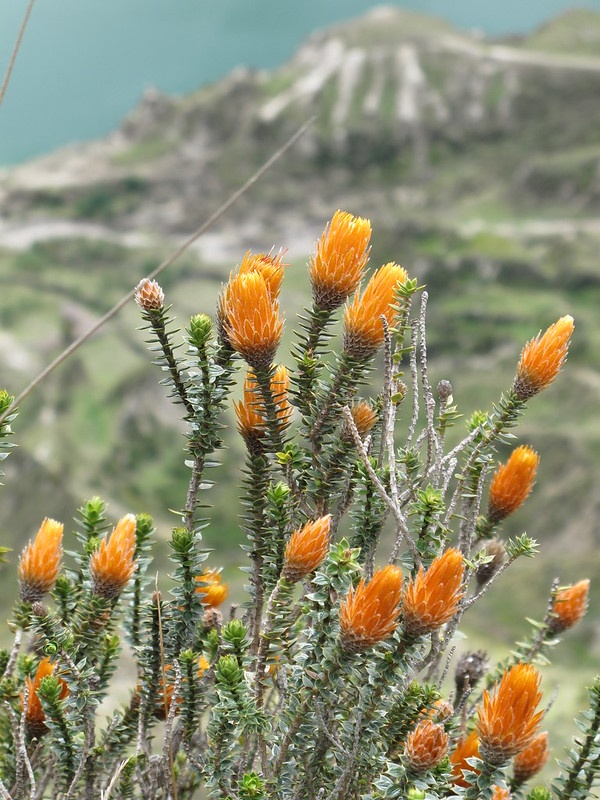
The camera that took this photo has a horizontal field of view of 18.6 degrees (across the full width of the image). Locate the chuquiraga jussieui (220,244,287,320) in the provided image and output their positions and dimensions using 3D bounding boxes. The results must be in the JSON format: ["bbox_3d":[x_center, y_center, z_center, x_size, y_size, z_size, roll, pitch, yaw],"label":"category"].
[{"bbox_3d":[-0.091,-0.247,3.693,0.098,0.091,0.158,7,82,23],"label":"chuquiraga jussieui"}]

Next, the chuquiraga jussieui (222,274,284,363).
[{"bbox_3d":[-0.092,-0.157,3.672,0.112,0.173,0.094,-4,10,13],"label":"chuquiraga jussieui"}]
